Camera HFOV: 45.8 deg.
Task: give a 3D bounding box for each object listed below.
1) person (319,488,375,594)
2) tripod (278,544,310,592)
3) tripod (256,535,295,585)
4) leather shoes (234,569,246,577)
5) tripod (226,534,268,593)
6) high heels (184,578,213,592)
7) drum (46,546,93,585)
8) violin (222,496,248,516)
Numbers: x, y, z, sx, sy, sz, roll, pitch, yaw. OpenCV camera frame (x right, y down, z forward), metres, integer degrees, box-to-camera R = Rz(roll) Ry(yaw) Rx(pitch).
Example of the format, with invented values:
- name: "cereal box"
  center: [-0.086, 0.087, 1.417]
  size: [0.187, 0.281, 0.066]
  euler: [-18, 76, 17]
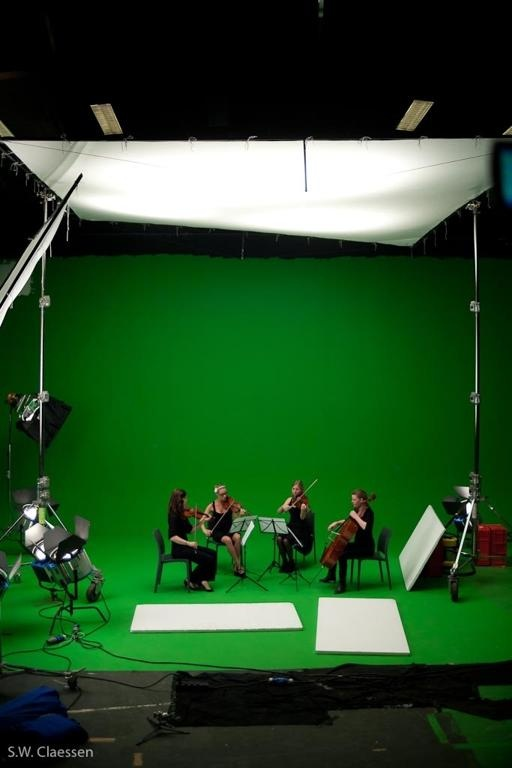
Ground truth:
- name: "person"
  center: [1.131, 1.765, 7.140]
  size: [0.473, 0.380, 1.074]
  euler: [25, -65, -11]
- name: "tripod"
  center: [0.467, 2.179, 7.516]
  size: [0.335, 0.412, 0.543]
  euler: [-4, -90, -4]
- name: "tripod"
  center: [0.292, 2.250, 7.976]
  size: [0.499, 0.488, 0.727]
  euler: [-3, -98, 6]
- name: "leather shoes"
  center: [-0.188, 2.339, 7.475]
  size: [0.138, 0.078, 0.102]
  euler: [-2, -94, 24]
- name: "tripod"
  center: [-0.148, 2.272, 7.490]
  size: [0.595, 0.659, 0.890]
  euler: [1, -93, -4]
- name: "high heels"
  center: [-0.658, 2.329, 7.034]
  size: [0.373, 0.128, 0.174]
  euler: [-4, -98, 11]
- name: "drum"
  center: [-1.855, 1.879, 6.161]
  size: [0.363, 0.462, 0.352]
  euler: [0, -91, -4]
- name: "violin"
  center: [-0.262, 1.599, 7.799]
  size: [0.356, 0.092, 0.185]
  euler: [39, -104, 4]
